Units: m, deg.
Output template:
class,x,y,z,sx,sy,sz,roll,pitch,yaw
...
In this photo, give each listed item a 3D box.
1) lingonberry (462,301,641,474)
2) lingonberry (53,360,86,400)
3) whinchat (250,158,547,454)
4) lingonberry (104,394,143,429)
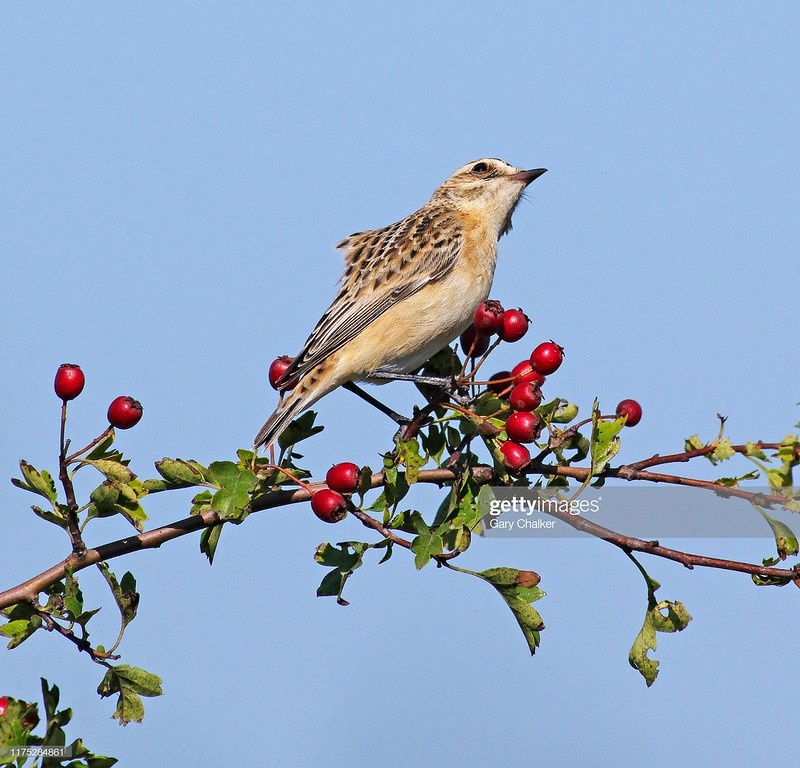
class,x,y,z,sx,sy,sz,roll,pitch,yaw
lingonberry,0.617,-0.037,6.249,0.541,0.670,1.401,1,-87,11
lingonberry,-1.337,-0.006,5.217,0.098,0.184,0.103,1,-10,-7
whinchat,-0.155,-0.126,8.310,1.237,1.848,2.361,6,-73,45
lingonberry,-1.120,0.114,5.248,0.090,0.127,0.098,10,-22,38
